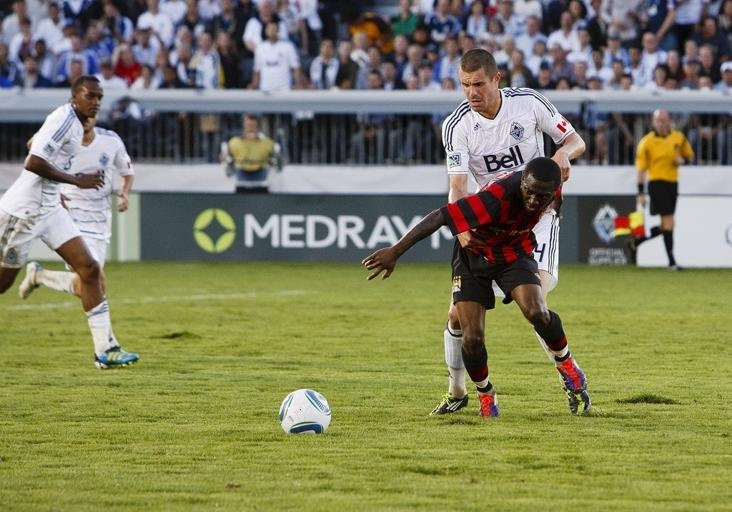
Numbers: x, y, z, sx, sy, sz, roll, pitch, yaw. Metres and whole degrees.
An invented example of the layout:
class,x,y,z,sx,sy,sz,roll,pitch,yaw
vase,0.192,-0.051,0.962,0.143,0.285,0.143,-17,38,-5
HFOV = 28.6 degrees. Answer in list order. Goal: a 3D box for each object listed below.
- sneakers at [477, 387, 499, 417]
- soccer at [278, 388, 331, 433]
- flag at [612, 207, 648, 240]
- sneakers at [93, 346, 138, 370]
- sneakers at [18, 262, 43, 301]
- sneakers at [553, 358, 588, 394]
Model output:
class,x,y,z,sx,sy,sz,roll,pitch,yaw
sneakers,1.115,1.366,13.020,0.120,0.336,0.141,-6,-6,14
soccer,-0.524,1.414,12.693,0.395,0.408,0.381,-4,8,-11
flag,2.620,-0.285,14.197,0.346,0.212,0.457,-2,-1,9
sneakers,-2.477,1.032,14.467,0.486,0.263,0.191,-5,17,2
sneakers,-3.889,0.347,16.787,0.172,0.467,0.213,40,36,18
sneakers,1.882,1.091,13.167,0.214,0.344,0.144,-31,-8,9
